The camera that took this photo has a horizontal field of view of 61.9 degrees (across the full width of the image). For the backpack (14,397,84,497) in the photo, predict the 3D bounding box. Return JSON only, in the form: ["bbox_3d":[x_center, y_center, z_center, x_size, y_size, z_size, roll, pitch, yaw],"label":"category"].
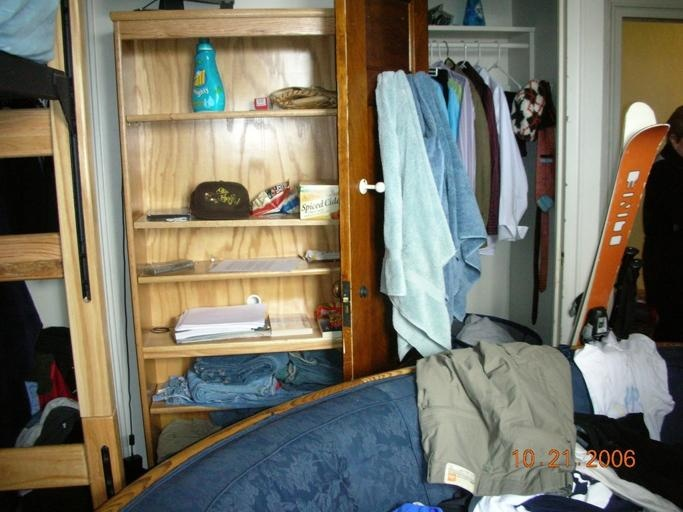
[{"bbox_3d":[-1.317,0.763,2.548,0.267,0.193,0.161,-8,10,-26],"label":"backpack"}]

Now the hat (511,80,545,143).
[{"bbox_3d":[1.021,-0.788,3.132,0.214,0.296,0.093,22,15,39],"label":"hat"}]

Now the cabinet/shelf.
[{"bbox_3d":[-0.521,-0.087,2.923,1.122,2.160,0.444,-5,9,-7],"label":"cabinet/shelf"}]

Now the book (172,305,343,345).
[{"bbox_3d":[-0.453,0.344,2.991,0.760,0.138,0.376,-4,9,-4],"label":"book"}]

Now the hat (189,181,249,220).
[{"bbox_3d":[-0.611,-0.242,2.850,0.256,0.157,0.213,-1,2,-21],"label":"hat"}]

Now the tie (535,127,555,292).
[{"bbox_3d":[1.141,-0.274,3.247,0.107,0.880,0.103,3,4,33],"label":"tie"}]

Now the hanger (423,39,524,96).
[{"bbox_3d":[0.718,-1.044,3.129,0.613,0.312,0.158,-2,10,-5],"label":"hanger"}]

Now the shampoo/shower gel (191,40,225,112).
[{"bbox_3d":[-0.680,-0.903,2.852,0.159,0.364,0.149,-5,9,-6],"label":"shampoo/shower gel"}]
